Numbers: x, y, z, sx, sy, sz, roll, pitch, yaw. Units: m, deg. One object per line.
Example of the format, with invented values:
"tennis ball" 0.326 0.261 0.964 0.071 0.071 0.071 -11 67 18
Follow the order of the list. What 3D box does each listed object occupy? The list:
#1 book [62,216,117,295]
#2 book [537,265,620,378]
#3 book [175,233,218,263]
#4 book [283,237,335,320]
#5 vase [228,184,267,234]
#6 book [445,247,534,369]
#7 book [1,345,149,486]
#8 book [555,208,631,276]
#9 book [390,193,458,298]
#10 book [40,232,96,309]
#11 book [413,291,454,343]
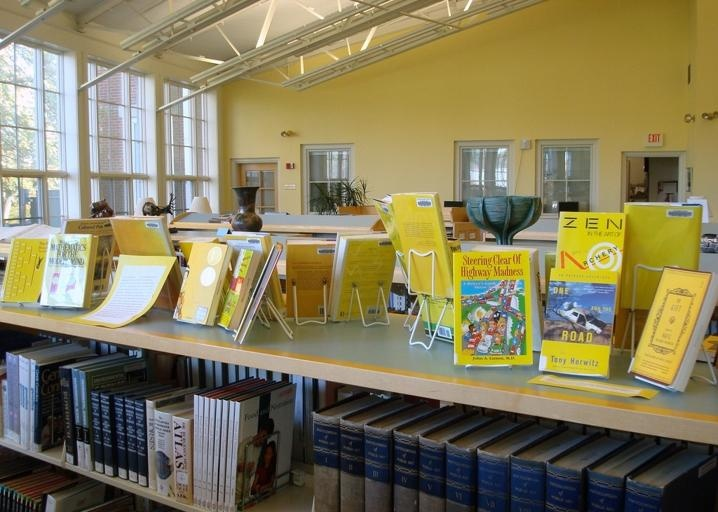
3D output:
"book" -1.108 0.000 2.244 0.191 0.348 0.232 6 15 -15
"book" 0.567 0.170 1.418 0.167 0.259 0.112 4 10 25
"book" -0.770 -0.041 2.567 0.242 0.052 0.152 8 20 17
"book" -0.183 0.082 1.995 0.256 0.333 0.249 1 22 -5
"vase" -0.855 -0.353 4.168 0.202 0.345 0.431 -3 9 -13
"book" 0.360 0.136 1.491 0.207 0.298 0.115 1 9 8
"book" -1.142 0.540 2.285 0.652 0.432 0.423 2 2 31
"book" 0.626 -0.033 1.460 0.161 0.178 0.024 11 -11 13
"book" 0.186 -0.032 1.667 0.122 0.324 0.256 -5 10 -25
"book" -1.173 0.066 2.224 0.324 0.402 0.049 0 -10 25
"book" 0.235 0.190 1.699 0.083 0.133 0.150 -9 14 -33
